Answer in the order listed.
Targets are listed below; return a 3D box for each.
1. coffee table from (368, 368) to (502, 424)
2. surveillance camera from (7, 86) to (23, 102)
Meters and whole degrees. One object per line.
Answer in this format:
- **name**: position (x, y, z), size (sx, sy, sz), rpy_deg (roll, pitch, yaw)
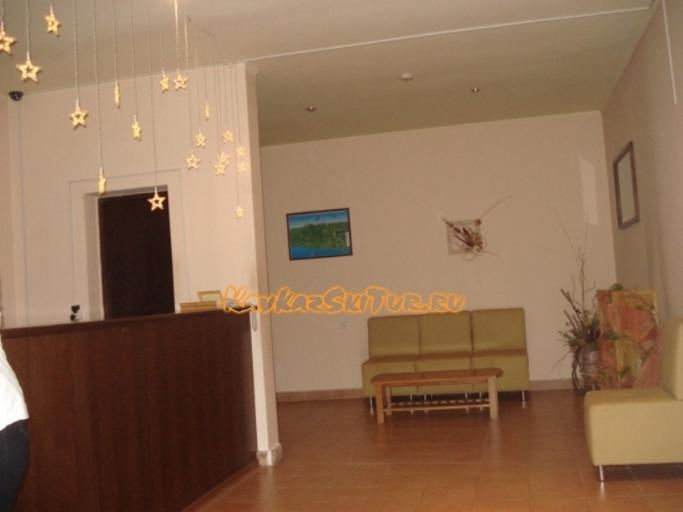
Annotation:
- **coffee table**: position (1.139, 1.615, 7.137), size (1.454, 0.610, 0.992), rpy_deg (-5, -1, 11)
- **surveillance camera**: position (-3.392, -1.694, 6.283), size (0.107, 0.027, 0.111), rpy_deg (-8, -14, 12)
